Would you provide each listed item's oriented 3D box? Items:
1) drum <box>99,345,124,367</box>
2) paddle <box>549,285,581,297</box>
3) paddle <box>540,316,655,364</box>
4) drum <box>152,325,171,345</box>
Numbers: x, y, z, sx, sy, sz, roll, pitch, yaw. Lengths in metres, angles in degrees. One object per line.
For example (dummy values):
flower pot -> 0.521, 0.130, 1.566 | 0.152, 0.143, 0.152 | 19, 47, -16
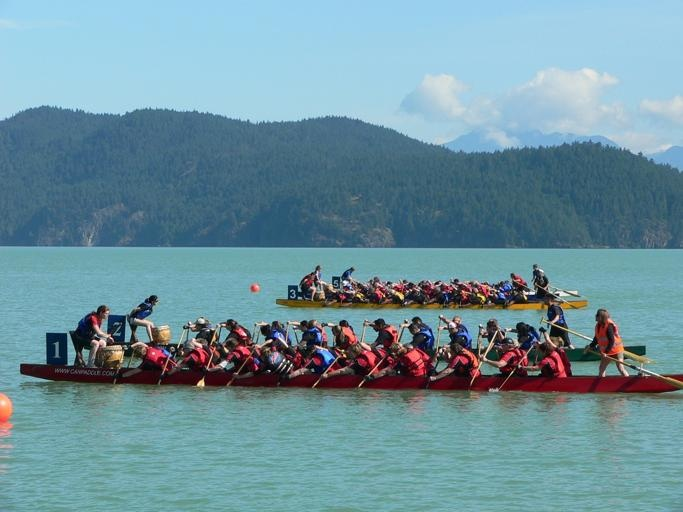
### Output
drum -> -13.288, 5.662, 78.841 | 1.286, 1.004, 1.219 | 0, -6, 0
paddle -> 19.889, 3.060, 122.428 | 2.319, 0.191, 0.690 | 9, -22, 23
paddle -> 15.656, 5.164, 84.366 | 5.255, 0.646, 1.130 | 24, 35, 17
drum -> -11.063, 4.792, 84.318 | 1.090, 0.925, 1.036 | -1, -4, 5
